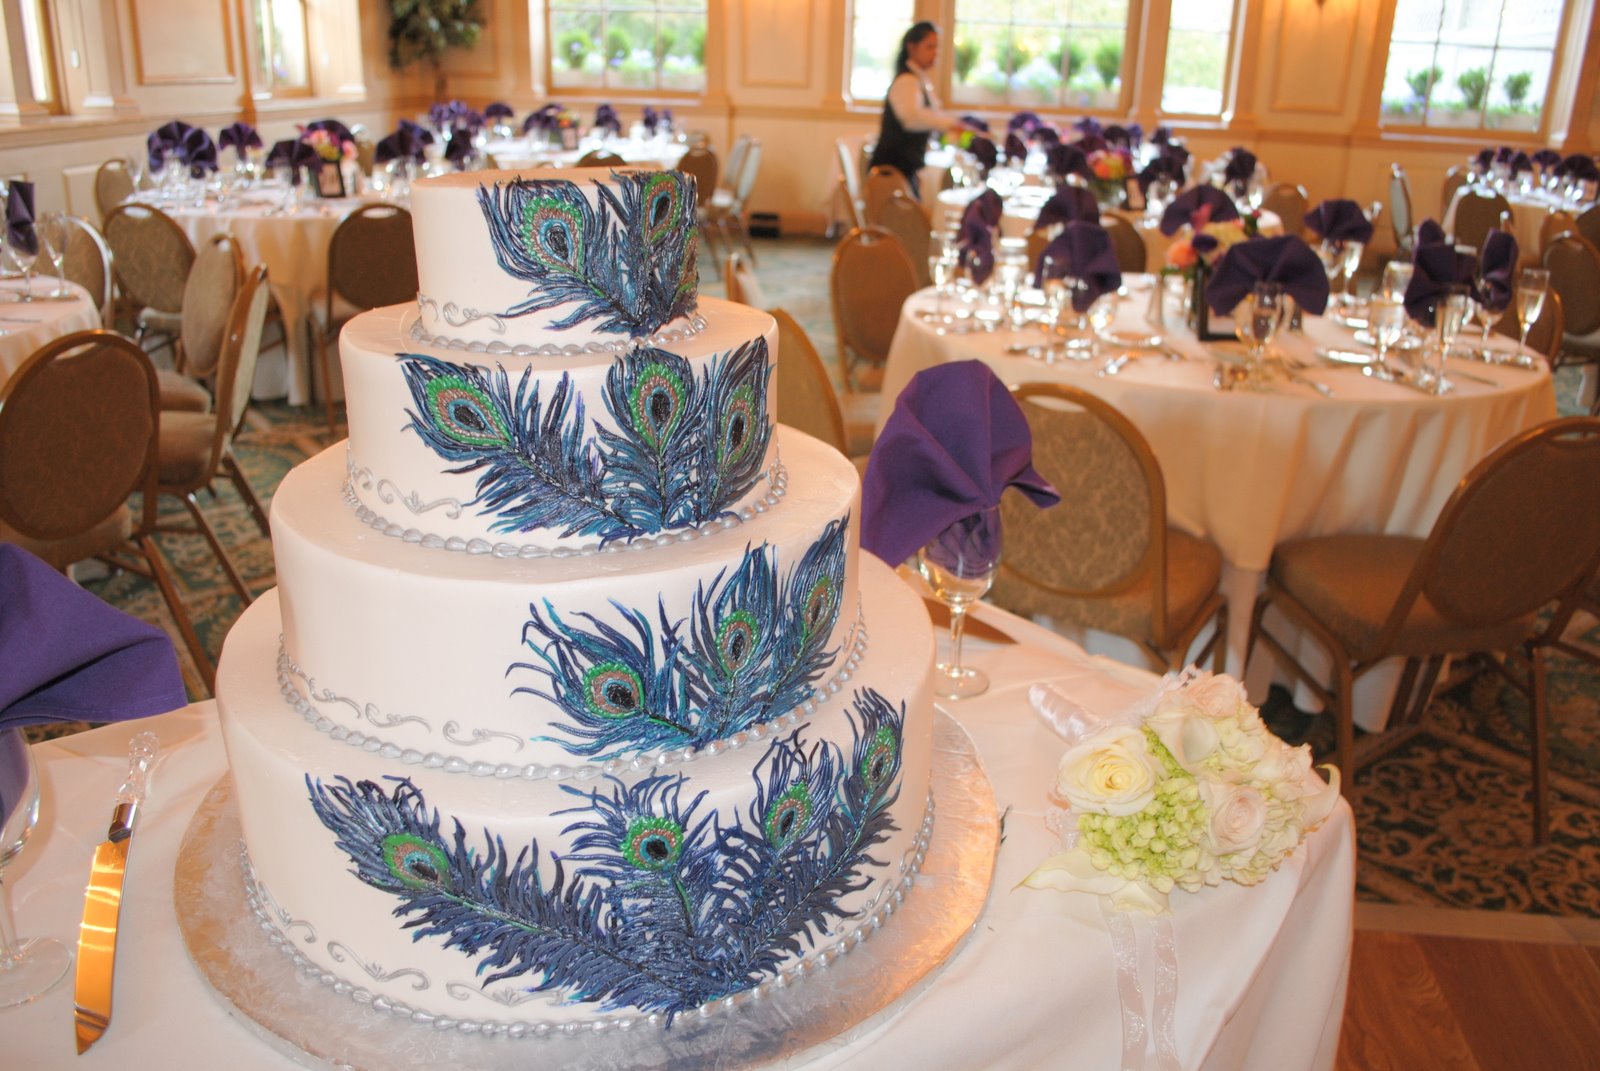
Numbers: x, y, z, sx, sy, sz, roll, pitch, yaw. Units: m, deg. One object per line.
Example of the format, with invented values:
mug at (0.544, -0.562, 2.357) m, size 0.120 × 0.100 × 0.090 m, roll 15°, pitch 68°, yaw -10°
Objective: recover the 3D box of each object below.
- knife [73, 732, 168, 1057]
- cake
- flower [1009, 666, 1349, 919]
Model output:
knife at (-0.923, 0.462, 1.543) m, size 0.053 × 0.030 × 0.542 m, roll 28°, pitch 22°, yaw -35°
cake at (-0.306, 0.039, 1.530) m, size 0.988 × 0.953 × 0.672 m, roll 5°, pitch 23°, yaw 7°
flower at (0.528, 0.361, 1.490) m, size 0.339 × 0.386 × 0.134 m, roll -1°, pitch 5°, yaw -4°
